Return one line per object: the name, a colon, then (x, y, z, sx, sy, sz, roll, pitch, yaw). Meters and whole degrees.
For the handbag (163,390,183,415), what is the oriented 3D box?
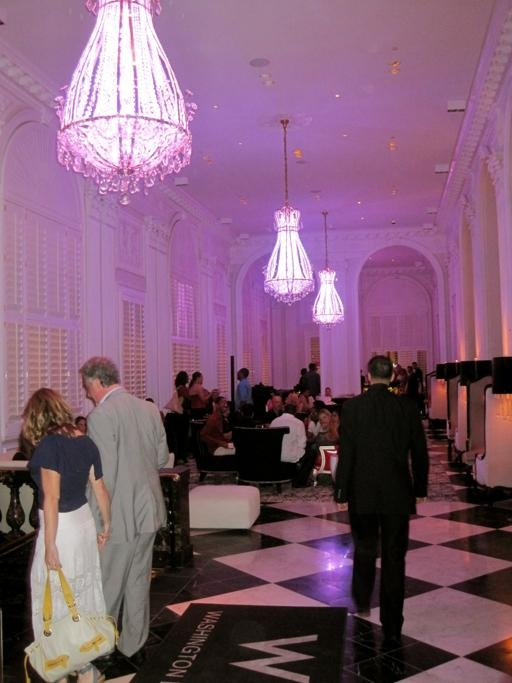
handbag: (-1.489, 1.110, 10.163, 0.346, 0.418, 0.230, -9, -24, 44)

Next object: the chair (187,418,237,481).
chair: (-0.556, 1.472, 7.967, 0.833, 0.963, 0.787, 1, -5, -2)

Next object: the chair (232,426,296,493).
chair: (0.064, 1.471, 7.121, 0.738, 0.762, 0.715, 3, -7, -34)

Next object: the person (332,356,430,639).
person: (0.662, 0.786, 2.975, 0.478, 1.423, 0.376, -3, -6, 19)

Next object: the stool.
stool: (-0.314, 1.629, 5.504, 0.677, 0.368, 0.501, 0, -6, -4)

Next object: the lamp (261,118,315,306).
lamp: (0.489, -1.897, 8.807, 0.738, 2.505, 2.451, -1, -6, 5)
